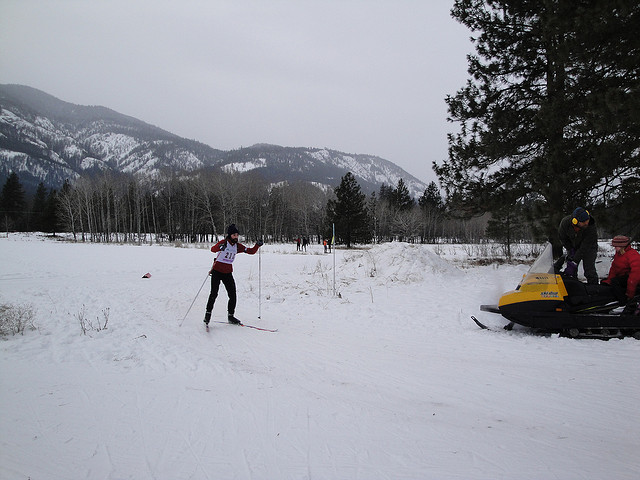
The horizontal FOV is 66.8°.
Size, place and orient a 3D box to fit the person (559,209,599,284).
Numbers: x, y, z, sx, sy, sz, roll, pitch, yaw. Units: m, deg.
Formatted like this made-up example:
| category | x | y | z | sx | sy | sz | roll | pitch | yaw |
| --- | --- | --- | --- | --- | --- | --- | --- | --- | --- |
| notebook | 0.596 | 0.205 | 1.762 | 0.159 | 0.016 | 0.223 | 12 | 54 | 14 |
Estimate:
| category | x | y | z | sx | sy | sz | roll | pitch | yaw |
| --- | --- | --- | --- | --- | --- | --- | --- | --- | --- |
| person | 5.811 | 0.160 | 10.889 | 0.722 | 1.649 | 0.954 | -2 | -4 | 31 |

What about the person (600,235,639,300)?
| category | x | y | z | sx | sy | sz | roll | pitch | yaw |
| --- | --- | --- | --- | --- | --- | --- | --- | --- | --- |
| person | 6.445 | 0.593 | 10.277 | 0.342 | 1.327 | 0.639 | 1 | -3 | -15 |
